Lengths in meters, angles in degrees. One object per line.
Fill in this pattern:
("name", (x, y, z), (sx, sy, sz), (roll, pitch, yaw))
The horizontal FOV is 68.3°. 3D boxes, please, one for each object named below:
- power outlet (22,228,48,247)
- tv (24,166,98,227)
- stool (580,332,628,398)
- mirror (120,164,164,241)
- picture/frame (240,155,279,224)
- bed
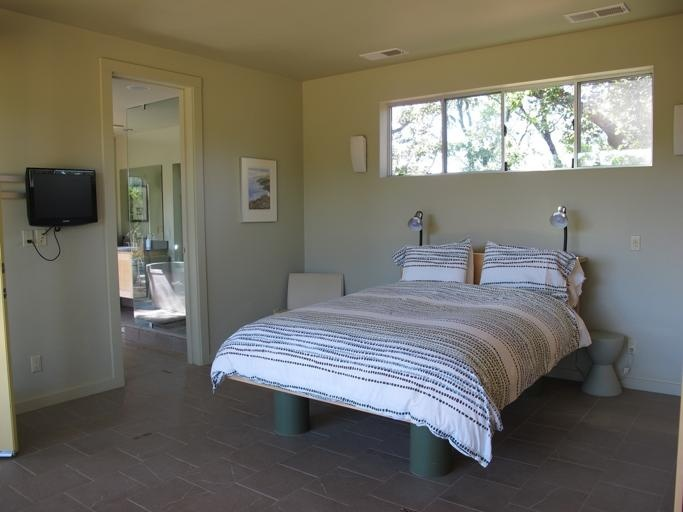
("power outlet", (-2.652, -0.157, 4.321), (0.152, 0.114, 0.016), (-1, 6, -40))
("tv", (-2.454, -0.507, 4.337), (0.160, 0.469, 0.507), (5, 7, 39))
("stool", (2.424, 0.995, 4.684), (0.304, 0.521, 0.317), (-2, 5, -8))
("mirror", (-2.519, -0.712, 6.383), (0.839, 1.214, 0.051), (4, 9, 23))
("picture/frame", (-0.974, -0.765, 5.932), (0.055, 0.750, 0.555), (8, 13, 44))
("bed", (0.713, 0.847, 4.577), (2.664, 0.900, 3.211), (0, 5, 28))
